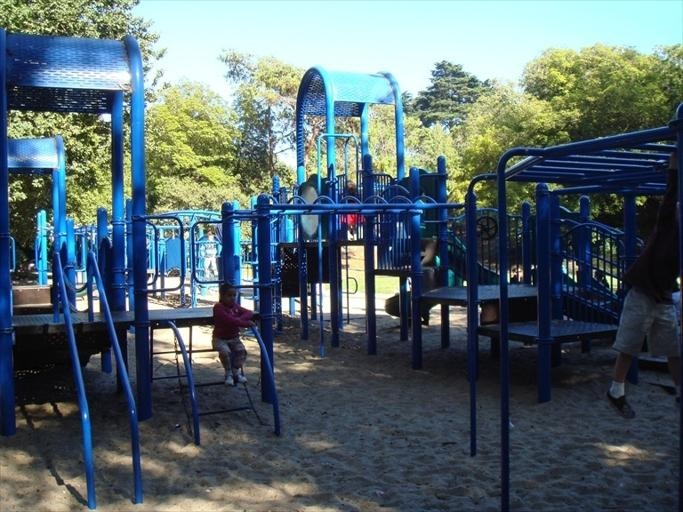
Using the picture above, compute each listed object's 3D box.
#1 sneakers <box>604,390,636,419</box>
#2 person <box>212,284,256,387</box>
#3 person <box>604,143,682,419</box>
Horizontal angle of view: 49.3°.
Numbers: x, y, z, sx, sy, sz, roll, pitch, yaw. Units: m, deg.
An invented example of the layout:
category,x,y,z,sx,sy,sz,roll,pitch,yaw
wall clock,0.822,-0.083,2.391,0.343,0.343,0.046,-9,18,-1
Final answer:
category,x,y,z,sx,sy,sz,roll,pitch,yaw
sneakers,2.734,1.426,7.278,0.133,0.173,0.418,-20,39,-7
person,-1.315,0.959,9.056,0.538,1.252,0.613,-2,8,-8
person,2.920,0.340,7.111,0.651,2.482,0.806,2,8,21
